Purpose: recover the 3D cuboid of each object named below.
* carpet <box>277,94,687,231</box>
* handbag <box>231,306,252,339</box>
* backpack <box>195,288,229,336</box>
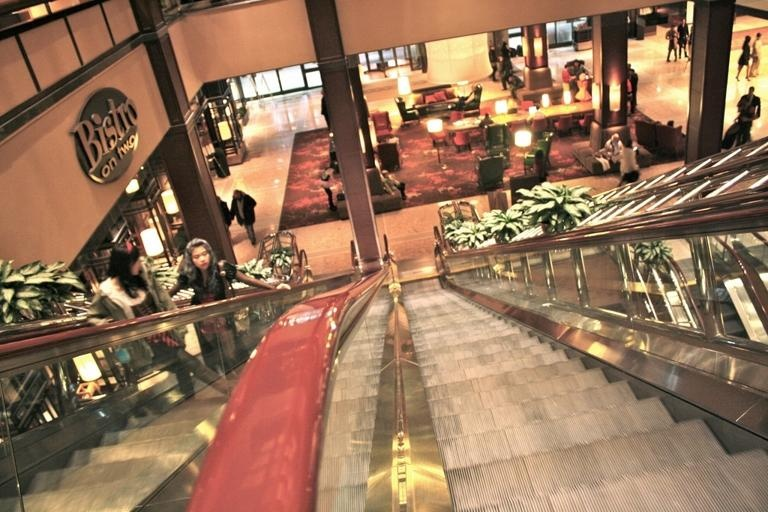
[{"bbox_3d":[1.486,-3.940,15.996,10.426,2.546,7.702,-11,18,0],"label":"carpet"},{"bbox_3d":[-1.094,0.504,3.265,0.044,0.170,0.172,-1,8,23],"label":"handbag"},{"bbox_3d":[-1.379,0.433,3.346,0.244,0.289,0.172,-8,2,-3],"label":"backpack"}]
